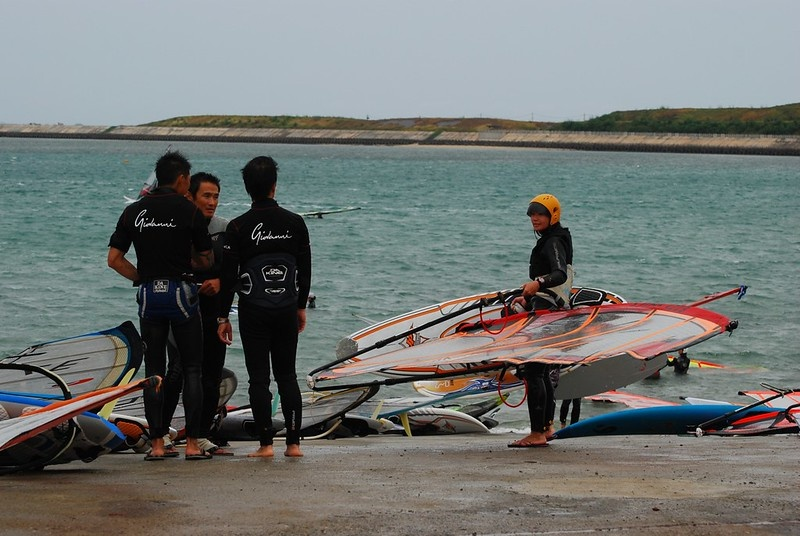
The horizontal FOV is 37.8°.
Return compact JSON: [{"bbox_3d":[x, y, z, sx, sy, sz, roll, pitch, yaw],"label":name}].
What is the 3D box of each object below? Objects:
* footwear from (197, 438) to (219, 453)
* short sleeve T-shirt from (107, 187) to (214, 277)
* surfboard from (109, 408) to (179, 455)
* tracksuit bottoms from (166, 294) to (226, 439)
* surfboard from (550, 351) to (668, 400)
[{"bbox_3d":[-2.851,2.574,16.961,0.462,0.114,0.159,15,-33,5],"label":"footwear"},{"bbox_3d":[-3.341,-0.477,16.355,1.354,1.296,0.409,-1,8,-7],"label":"short sleeve T-shirt"},{"bbox_3d":[-3.850,2.494,17.287,1.141,0.251,0.649,7,15,0],"label":"surfboard"},{"bbox_3d":[-2.959,1.431,16.869,0.731,2.114,0.418,6,-2,-22],"label":"tracksuit bottoms"},{"bbox_3d":[3.543,1.878,20.381,2.841,0.588,0.324,-11,11,-13],"label":"surfboard"}]
